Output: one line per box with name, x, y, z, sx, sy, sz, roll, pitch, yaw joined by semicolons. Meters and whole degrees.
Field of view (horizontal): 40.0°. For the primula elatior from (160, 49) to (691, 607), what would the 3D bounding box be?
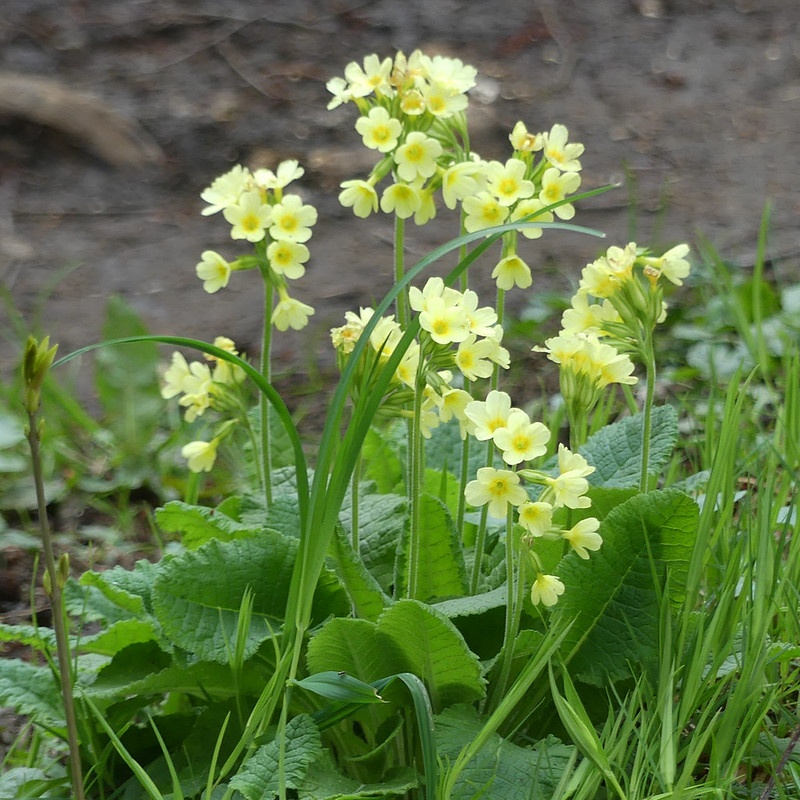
primula elatior;0.059;-0.100;2.020;0.982;1.047;0.958;-3;18;-4
